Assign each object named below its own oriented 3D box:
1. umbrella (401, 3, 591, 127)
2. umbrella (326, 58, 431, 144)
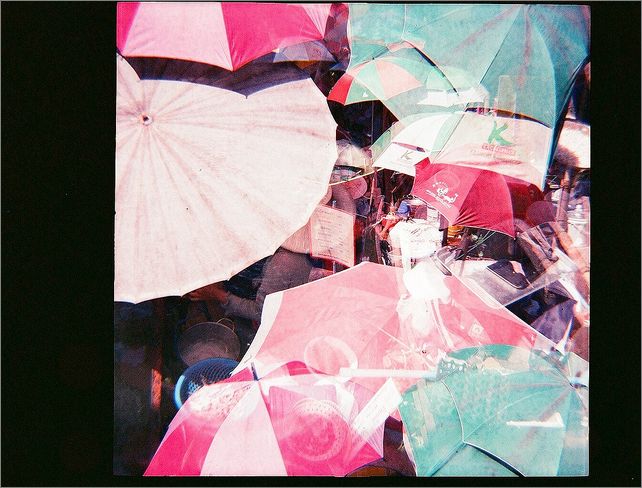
[{"bbox_3d":[1.034,-1.067,3.125,0.740,0.807,0.318,14,2,-8],"label":"umbrella"},{"bbox_3d":[0.292,-0.853,3.267,0.411,0.482,0.288,8,-5,-1],"label":"umbrella"}]
